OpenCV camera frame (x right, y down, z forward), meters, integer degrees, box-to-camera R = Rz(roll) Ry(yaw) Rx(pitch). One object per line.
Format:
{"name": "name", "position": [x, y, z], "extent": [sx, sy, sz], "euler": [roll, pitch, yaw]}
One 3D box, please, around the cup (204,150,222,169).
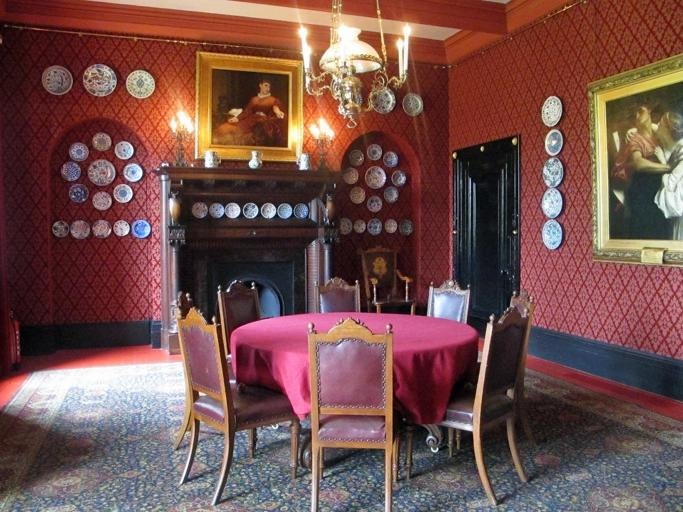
{"name": "cup", "position": [-1.723, -1.290, 7.072], "extent": [0.255, 0.273, 0.193], "euler": [6, 6, 43]}

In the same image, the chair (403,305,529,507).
{"name": "chair", "position": [1.144, 0.990, 3.886], "extent": [0.502, 1.264, 0.790], "euler": [6, 11, 41]}

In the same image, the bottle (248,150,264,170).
{"name": "bottle", "position": [-1.130, -1.299, 7.162], "extent": [0.248, 0.288, 0.193], "euler": [1, 0, 3]}

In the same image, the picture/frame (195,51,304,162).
{"name": "picture/frame", "position": [-1.347, -2.064, 7.302], "extent": [1.429, 1.573, 0.119], "euler": [-1, 3, -19]}

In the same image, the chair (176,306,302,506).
{"name": "chair", "position": [-0.841, 1.006, 3.823], "extent": [0.942, 1.264, 0.646], "euler": [3, 9, 27]}
